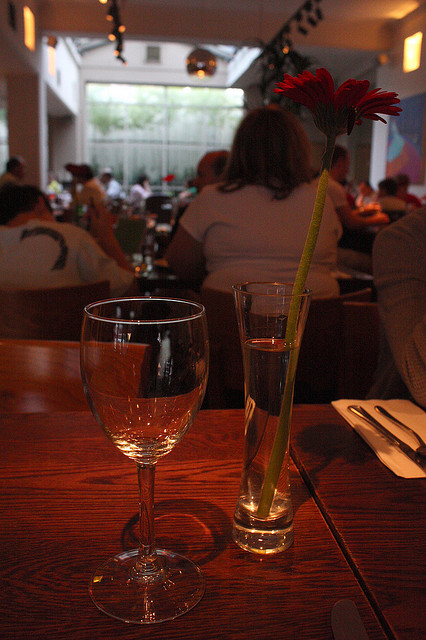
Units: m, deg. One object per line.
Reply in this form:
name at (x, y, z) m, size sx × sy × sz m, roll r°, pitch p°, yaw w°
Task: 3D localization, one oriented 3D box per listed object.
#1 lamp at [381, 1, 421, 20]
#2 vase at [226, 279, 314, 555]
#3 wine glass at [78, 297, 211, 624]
lamp at (2.578, -4.191, 7.189) m, size 0.237 × 0.060 × 0.172 m, roll -2°, pitch -2°, yaw 41°
vase at (0.047, 0.064, 0.463) m, size 0.060 × 0.204 × 0.165 m, roll 2°, pitch 11°, yaw 5°
wine glass at (-0.045, 0.086, 0.363) m, size 0.083 × 0.191 × 0.125 m, roll 0°, pitch 11°, yaw -2°
